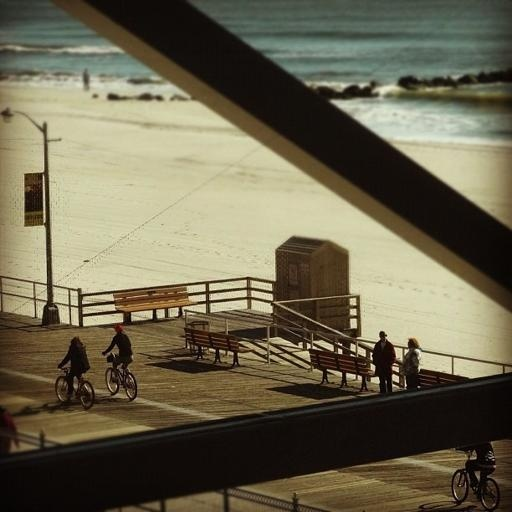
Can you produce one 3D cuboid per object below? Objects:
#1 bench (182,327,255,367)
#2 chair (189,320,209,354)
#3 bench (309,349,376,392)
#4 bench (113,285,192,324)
[{"bbox_3d":[-0.535,1.277,18.959,0.357,0.458,1.225,0,3,-39],"label":"bench"},{"bbox_3d":[-0.846,1.180,19.665,0.405,0.441,0.418,1,9,5],"label":"chair"},{"bbox_3d":[1.108,1.431,16.961,0.342,0.442,1.083,-1,4,-35],"label":"bench"},{"bbox_3d":[-1.947,0.855,25.116,1.380,0.717,2.499,-6,-5,-5],"label":"bench"}]
